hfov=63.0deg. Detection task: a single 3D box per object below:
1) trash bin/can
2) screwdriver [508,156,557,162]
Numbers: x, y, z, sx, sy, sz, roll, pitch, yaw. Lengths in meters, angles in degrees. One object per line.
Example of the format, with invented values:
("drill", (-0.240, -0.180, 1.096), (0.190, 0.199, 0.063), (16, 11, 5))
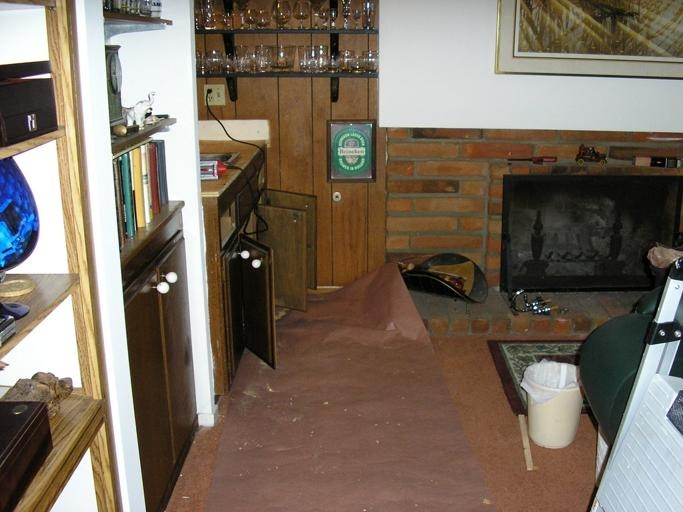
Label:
("trash bin/can", (0.908, 0.642, 2.433), (0.241, 0.295, 0.254), (6, 20, 20))
("screwdriver", (1.177, -0.596, 3.443), (0.285, 0.036, 0.053), (1, 19, 6))
